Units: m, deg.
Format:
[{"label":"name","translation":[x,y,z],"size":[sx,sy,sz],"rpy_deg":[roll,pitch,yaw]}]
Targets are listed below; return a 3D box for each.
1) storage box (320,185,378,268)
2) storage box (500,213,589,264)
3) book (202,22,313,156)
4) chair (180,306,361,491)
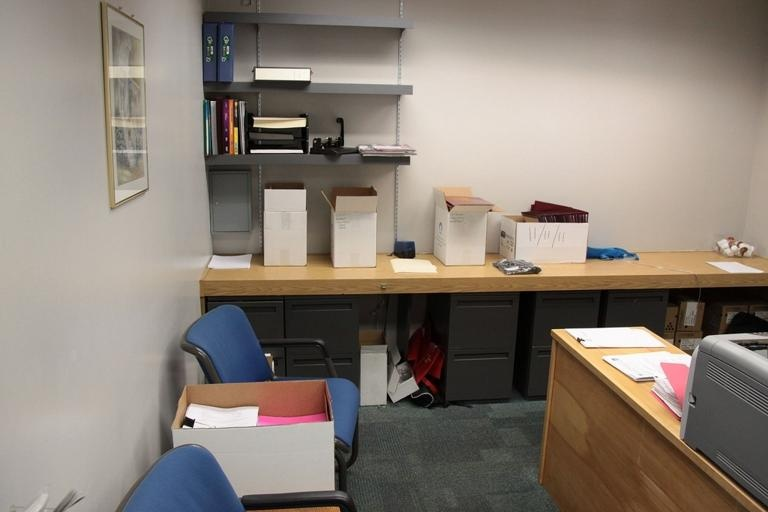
[{"label":"storage box","translation":[-0.169,-0.221,4.062],"size":[0.557,0.700,0.491],"rpy_deg":[-1,6,-4]},{"label":"storage box","translation":[1.166,-0.170,4.113],"size":[0.421,0.256,0.418],"rpy_deg":[0,10,-9]},{"label":"book","translation":[-0.868,-1.139,3.832],"size":[0.887,1.000,0.356],"rpy_deg":[-1,10,-12]},{"label":"chair","translation":[-0.560,0.642,3.153],"size":[1.043,1.228,0.815],"rpy_deg":[-1,8,4]}]
